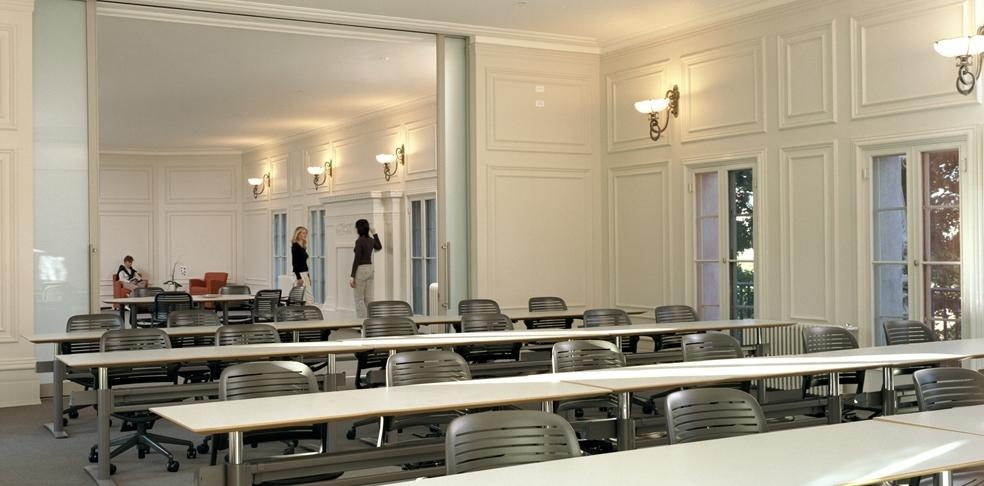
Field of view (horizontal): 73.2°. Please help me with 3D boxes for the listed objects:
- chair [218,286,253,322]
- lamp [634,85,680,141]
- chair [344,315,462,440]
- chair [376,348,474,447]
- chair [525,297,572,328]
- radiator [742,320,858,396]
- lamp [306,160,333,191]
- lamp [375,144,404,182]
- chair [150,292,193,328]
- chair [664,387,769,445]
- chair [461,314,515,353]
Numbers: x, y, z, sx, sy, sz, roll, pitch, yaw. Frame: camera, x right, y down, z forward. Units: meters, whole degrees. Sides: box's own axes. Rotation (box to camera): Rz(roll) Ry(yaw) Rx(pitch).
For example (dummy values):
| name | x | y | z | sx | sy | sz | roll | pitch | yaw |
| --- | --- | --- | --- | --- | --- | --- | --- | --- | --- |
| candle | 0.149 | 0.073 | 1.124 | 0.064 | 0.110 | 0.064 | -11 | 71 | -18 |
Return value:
| name | x | y | z | sx | sy | sz | roll | pitch | yaw |
| --- | --- | --- | --- | --- | --- | --- | --- | --- | --- |
| chair | -5.365 | 1.264 | 13.879 | 0.888 | 0.935 | 0.829 | 1 | -7 | -16 |
| lamp | 2.913 | -2.304 | 11.724 | 0.795 | 0.765 | 0.568 | -5 | 4 | 21 |
| chair | -0.994 | 1.417 | 7.167 | 1.270 | 1.223 | 1.023 | 12 | -8 | -21 |
| chair | -0.887 | 1.638 | 7.389 | 1.248 | 1.229 | 1.077 | 1 | -8 | -16 |
| chair | 0.935 | 1.134 | 10.907 | 0.650 | 0.641 | 0.577 | 0 | -5 | -5 |
| radiator | 4.443 | 1.725 | 9.886 | 1.915 | 0.944 | 0.110 | 5 | -6 | -10 |
| lamp | -4.490 | -1.863 | 17.565 | 0.742 | 0.721 | 0.441 | 2 | -6 | 36 |
| lamp | -2.402 | -1.886 | 15.512 | 0.443 | 0.793 | 0.804 | 1 | -4 | -35 |
| chair | -5.710 | 1.172 | 11.842 | 0.943 | 0.723 | 0.809 | 0 | 1 | -19 |
| chair | 2.030 | 1.525 | 6.290 | 0.742 | 0.741 | 0.654 | 0 | -6 | -14 |
| chair | -0.042 | 1.235 | 9.262 | 0.677 | 0.667 | 0.598 | 1 | -9 | -13 |
